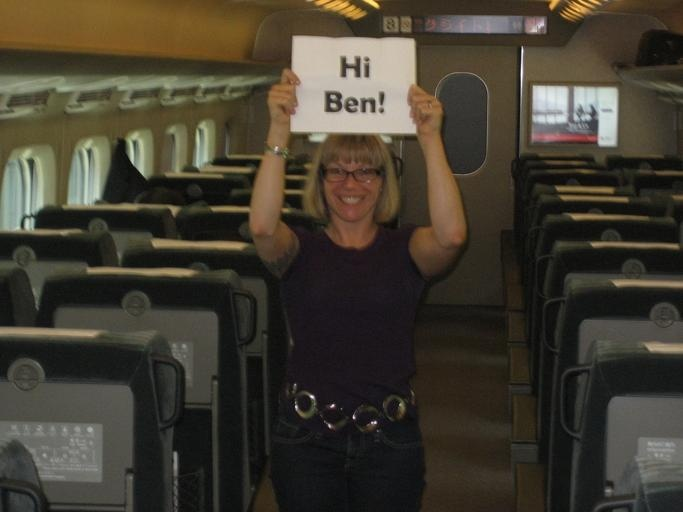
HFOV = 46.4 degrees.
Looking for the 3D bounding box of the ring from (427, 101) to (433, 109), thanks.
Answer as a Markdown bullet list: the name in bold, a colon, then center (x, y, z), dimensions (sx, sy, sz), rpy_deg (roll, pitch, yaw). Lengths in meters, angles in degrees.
- **ring**: center (0.319, -0.544, 2.849), dimensions (0.017, 0.027, 0.006), rpy_deg (-2, 4, -12)
